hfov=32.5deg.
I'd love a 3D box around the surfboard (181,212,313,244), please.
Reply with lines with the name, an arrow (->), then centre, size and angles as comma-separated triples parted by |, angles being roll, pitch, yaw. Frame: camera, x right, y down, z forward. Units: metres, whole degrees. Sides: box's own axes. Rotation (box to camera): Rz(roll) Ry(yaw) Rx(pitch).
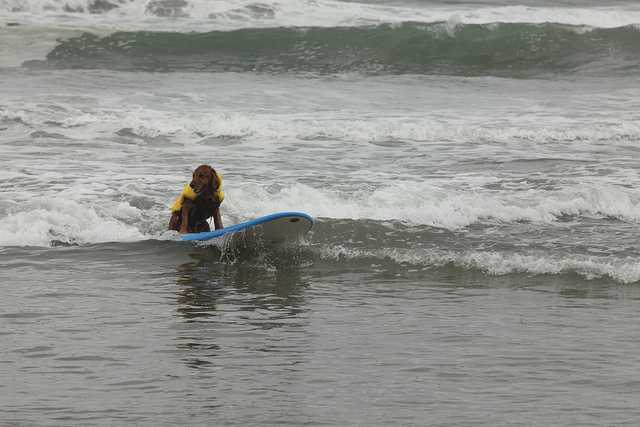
surfboard -> -1.592, 0.256, 21.038 | 2.919, 0.598, 0.200 | -9, 50, 11

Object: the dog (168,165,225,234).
dog -> -2.262, -0.231, 20.805 | 0.805, 0.701, 1.940 | 11, -28, -33
